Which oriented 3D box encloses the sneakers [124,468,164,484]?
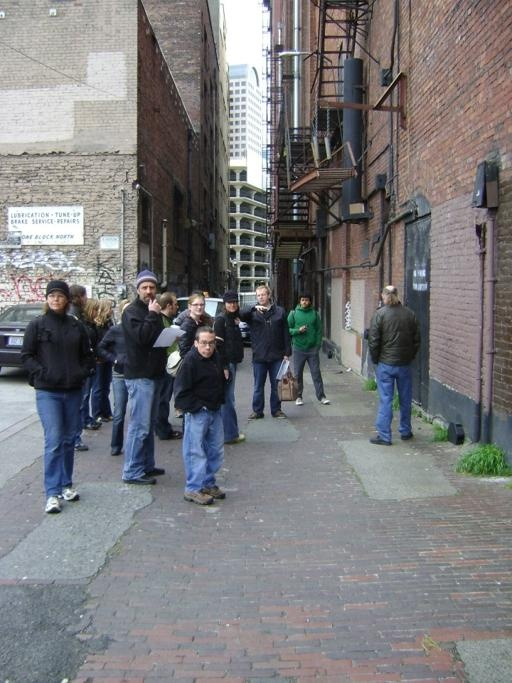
[{"bbox_3d":[-0.981,1.204,6.215,0.294,0.152,0.109,3,4,-18],"label":"sneakers"}]

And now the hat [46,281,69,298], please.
[{"bbox_3d":[-1.567,-0.414,5.507,0.163,0.140,0.252,-2,4,-20],"label":"hat"}]

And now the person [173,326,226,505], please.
[{"bbox_3d":[-0.413,0.593,5.651,0.329,1.417,0.520,2,5,38],"label":"person"}]

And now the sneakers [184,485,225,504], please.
[{"bbox_3d":[-0.409,1.246,5.607,0.315,0.188,0.135,-4,9,3],"label":"sneakers"}]

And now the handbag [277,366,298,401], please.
[{"bbox_3d":[0.421,0.558,8.985,0.242,0.558,0.383,-1,-3,5],"label":"handbag"}]

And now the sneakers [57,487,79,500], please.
[{"bbox_3d":[-1.497,1.220,5.586,0.149,0.087,0.070,-4,-3,32],"label":"sneakers"}]

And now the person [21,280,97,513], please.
[{"bbox_3d":[-1.519,0.400,5.502,0.465,1.749,0.552,3,5,43],"label":"person"}]

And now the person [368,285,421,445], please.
[{"bbox_3d":[1.463,0.255,7.608,0.441,1.680,0.598,3,5,40],"label":"person"}]

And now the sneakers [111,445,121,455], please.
[{"bbox_3d":[-1.465,1.148,7.303,0.100,0.090,0.094,-2,4,-16],"label":"sneakers"}]

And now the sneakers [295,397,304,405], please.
[{"bbox_3d":[0.678,0.918,10.637,0.082,0.111,0.251,1,-6,-4],"label":"sneakers"}]

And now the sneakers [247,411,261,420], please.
[{"bbox_3d":[-0.014,1.019,9.471,0.195,0.092,0.067,6,-6,-41],"label":"sneakers"}]

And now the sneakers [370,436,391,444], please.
[{"bbox_3d":[1.334,1.062,7.468,0.255,0.090,0.131,2,5,37],"label":"sneakers"}]

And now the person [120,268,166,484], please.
[{"bbox_3d":[-0.984,0.332,6.130,0.392,1.888,0.550,-1,4,-10],"label":"person"}]
